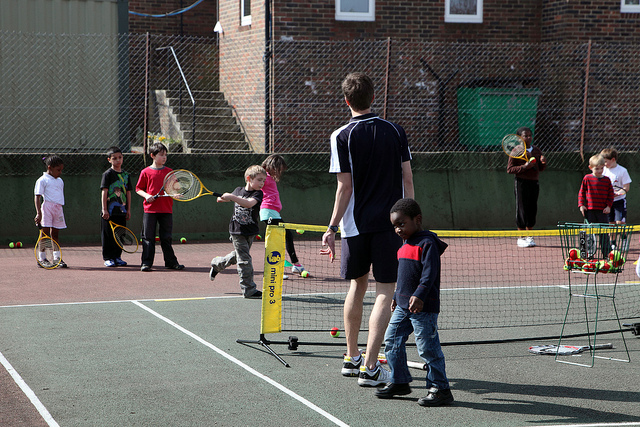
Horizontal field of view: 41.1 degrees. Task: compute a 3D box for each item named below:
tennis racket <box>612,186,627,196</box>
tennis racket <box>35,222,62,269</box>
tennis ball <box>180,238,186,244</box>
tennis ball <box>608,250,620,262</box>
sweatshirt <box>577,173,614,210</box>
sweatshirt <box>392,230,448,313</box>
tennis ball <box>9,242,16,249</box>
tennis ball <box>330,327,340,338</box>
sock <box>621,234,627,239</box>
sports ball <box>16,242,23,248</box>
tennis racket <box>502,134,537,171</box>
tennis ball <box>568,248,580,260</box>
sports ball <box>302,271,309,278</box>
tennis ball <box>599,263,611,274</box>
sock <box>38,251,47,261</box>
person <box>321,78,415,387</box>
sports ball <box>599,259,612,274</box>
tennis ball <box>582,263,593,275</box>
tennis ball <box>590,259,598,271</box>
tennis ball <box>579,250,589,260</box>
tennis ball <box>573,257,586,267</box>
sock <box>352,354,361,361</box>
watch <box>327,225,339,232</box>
[{"bbox_3d":[6.081,-0.489,17.443,0.222,0.074,0.234,6,-5,-15],"label":"tennis racket"},{"bbox_3d":[-5.158,0.648,16.050,0.311,0.818,0.044,-37,-25,16],"label":"tennis racket"},{"bbox_3d":[-3.002,0.556,18.675,0.099,0.072,0.088,5,-7,-15],"label":"tennis ball"},{"bbox_3d":[4.055,0.574,11.867,0.122,0.150,0.157,8,10,44],"label":"tennis ball"},{"bbox_3d":[5.442,-0.456,16.846,0.725,0.784,0.387,0,0,5],"label":"sweatshirt"},{"bbox_3d":[1.246,0.719,10.817,0.657,1.032,0.529,0,5,9],"label":"sweatshirt"},{"bbox_3d":[-6.443,0.629,17.837,0.100,0.112,0.140,1,-10,-10],"label":"tennis ball"},{"bbox_3d":[0.203,1.738,12.478,0.133,0.144,0.139,-17,4,1],"label":"tennis ball"},{"bbox_3d":[4.188,0.296,11.829,0.058,0.058,0.060,3,7,6],"label":"sock"},{"bbox_3d":[-6.324,0.626,17.918,0.103,0.081,0.107,2,4,0],"label":"sports ball"},{"bbox_3d":[4.186,-1.348,18.157,0.773,0.315,0.039,42,-18,-17],"label":"tennis racket"},{"bbox_3d":[3.545,0.539,11.961,0.101,0.168,0.088,9,46,11],"label":"tennis ball"},{"bbox_3d":[-0.288,1.060,15.311,0.104,0.108,0.102,-22,-16,-7],"label":"sports ball"},{"bbox_3d":[3.950,0.739,11.881,0.123,0.158,0.128,0,6,0],"label":"tennis ball"},{"bbox_3d":[-5.230,0.766,16.047,0.159,0.183,0.041,-2,6,-14],"label":"sock"},{"bbox_3d":[0.736,0.135,11.535,1.445,4.036,1.051,2,-3,-20],"label":"person"},{"bbox_3d":[3.925,0.712,11.892,0.170,0.183,0.175,2,7,0],"label":"sports ball"},{"bbox_3d":[3.732,0.739,11.962,0.134,0.158,0.255,1,6,18],"label":"tennis ball"},{"bbox_3d":[3.805,0.678,11.882,0.099,0.110,0.163,2,7,33],"label":"tennis ball"},{"bbox_3d":[3.738,0.559,12.127,0.101,0.105,0.104,2,1,0],"label":"tennis ball"},{"bbox_3d":[3.596,0.658,11.944,0.115,0.088,0.117,1,4,0],"label":"tennis ball"},{"bbox_3d":[0.465,1.889,11.367,0.108,0.093,0.086,6,-1,27],"label":"sock"},{"bbox_3d":[0.146,0.189,11.179,0.095,0.059,0.075,22,6,4],"label":"watch"}]
